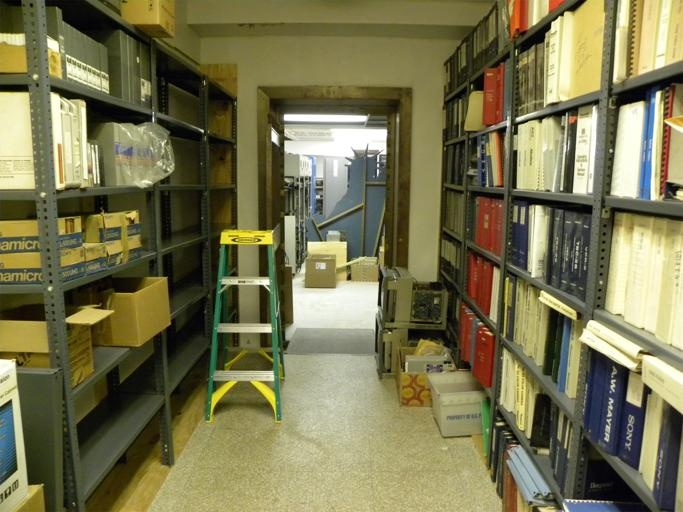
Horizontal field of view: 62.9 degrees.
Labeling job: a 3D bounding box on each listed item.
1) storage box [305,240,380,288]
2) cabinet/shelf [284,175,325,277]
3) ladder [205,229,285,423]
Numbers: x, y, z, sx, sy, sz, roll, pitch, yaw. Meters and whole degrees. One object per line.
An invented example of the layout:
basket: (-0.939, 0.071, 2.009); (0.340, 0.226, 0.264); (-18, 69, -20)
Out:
storage box: (0.024, 0.126, 8.299); (1.053, 0.495, 1.211); (1, 12, 0)
cabinet/shelf: (-0.612, -0.463, 9.007); (0.644, 1.608, 1.658); (-1, 8, 4)
ladder: (-0.715, 0.454, 4.405); (0.515, 1.262, 1.348); (0, -2, -6)
